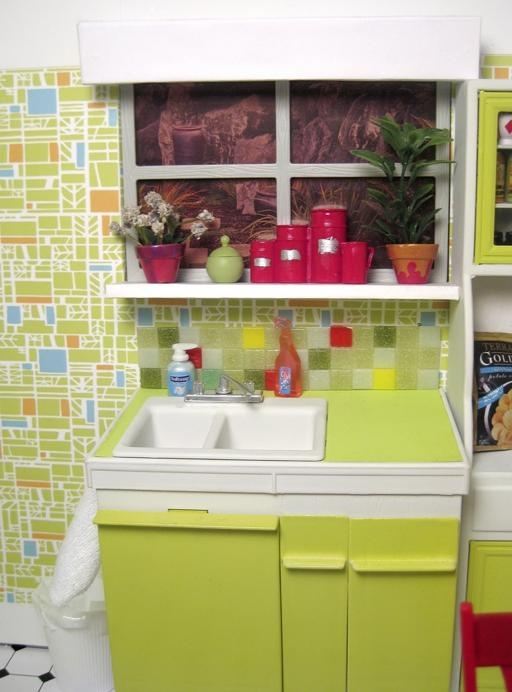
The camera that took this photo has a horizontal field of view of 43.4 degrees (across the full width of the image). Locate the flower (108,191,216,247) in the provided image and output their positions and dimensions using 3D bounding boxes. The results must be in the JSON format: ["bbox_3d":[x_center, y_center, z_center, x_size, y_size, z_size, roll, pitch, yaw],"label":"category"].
[{"bbox_3d":[-0.295,-0.384,1.953,0.335,0.157,0.255,-3,13,-1],"label":"flower"}]

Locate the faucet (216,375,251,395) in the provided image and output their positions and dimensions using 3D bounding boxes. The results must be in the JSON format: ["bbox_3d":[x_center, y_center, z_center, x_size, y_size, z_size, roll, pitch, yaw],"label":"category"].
[{"bbox_3d":[-0.076,0.127,2.008,0.116,0.071,0.056,0,13,6],"label":"faucet"}]

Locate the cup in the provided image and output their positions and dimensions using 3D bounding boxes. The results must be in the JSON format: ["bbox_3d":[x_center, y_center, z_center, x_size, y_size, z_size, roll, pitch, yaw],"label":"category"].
[{"bbox_3d":[0.107,-0.291,1.914,0.454,0.266,0.170,2,8,5],"label":"cup"}]

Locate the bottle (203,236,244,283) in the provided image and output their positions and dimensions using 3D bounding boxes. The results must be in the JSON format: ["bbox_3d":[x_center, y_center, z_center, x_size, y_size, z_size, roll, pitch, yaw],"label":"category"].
[{"bbox_3d":[-0.093,-0.259,1.914,0.137,0.169,0.133,0,12,0],"label":"bottle"}]

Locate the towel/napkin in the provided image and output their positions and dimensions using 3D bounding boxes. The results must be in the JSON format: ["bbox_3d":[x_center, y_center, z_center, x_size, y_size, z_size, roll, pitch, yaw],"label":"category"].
[{"bbox_3d":[-0.488,0.567,1.820,0.088,0.306,0.247,17,-21,-3],"label":"towel/napkin"}]

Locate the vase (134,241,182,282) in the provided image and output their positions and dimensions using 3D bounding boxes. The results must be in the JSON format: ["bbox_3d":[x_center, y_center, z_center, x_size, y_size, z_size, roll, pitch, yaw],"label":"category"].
[{"bbox_3d":[-0.285,-0.248,1.898,0.129,0.095,0.121,3,13,11],"label":"vase"}]

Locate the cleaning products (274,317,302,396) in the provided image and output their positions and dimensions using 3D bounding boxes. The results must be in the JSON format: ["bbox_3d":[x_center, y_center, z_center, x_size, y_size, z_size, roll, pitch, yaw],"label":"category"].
[{"bbox_3d":[0.098,0.032,2.050,0.086,0.251,0.104,-2,13,6],"label":"cleaning products"}]

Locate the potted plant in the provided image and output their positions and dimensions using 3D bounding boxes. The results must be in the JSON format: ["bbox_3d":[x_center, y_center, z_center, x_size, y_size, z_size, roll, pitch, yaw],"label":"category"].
[{"bbox_3d":[0.422,-0.431,1.901,0.286,0.501,0.267,0,14,16],"label":"potted plant"}]

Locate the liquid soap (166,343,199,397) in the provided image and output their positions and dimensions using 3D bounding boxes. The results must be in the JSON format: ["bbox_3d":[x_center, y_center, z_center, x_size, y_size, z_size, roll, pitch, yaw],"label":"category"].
[{"bbox_3d":[-0.232,0.082,2.021,0.097,0.164,0.089,-5,13,-6],"label":"liquid soap"}]
